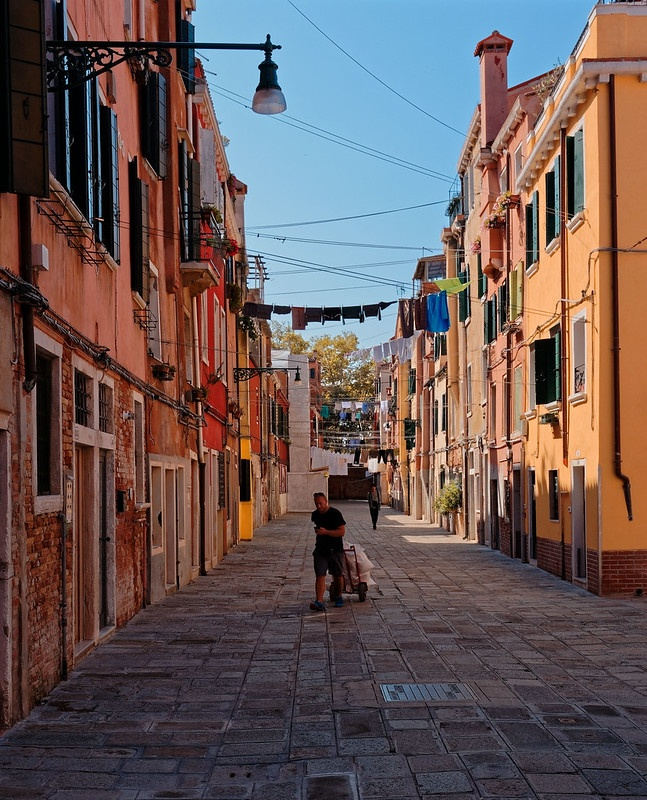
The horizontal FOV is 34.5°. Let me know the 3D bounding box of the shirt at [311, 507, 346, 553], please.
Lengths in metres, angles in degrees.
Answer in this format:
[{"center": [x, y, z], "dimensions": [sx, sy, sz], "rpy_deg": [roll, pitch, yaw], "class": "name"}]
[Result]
[{"center": [0.062, 1.729, 13.877], "dimensions": [0.542, 0.949, 0.444], "rpy_deg": [1, -8, -4], "class": "shirt"}]
